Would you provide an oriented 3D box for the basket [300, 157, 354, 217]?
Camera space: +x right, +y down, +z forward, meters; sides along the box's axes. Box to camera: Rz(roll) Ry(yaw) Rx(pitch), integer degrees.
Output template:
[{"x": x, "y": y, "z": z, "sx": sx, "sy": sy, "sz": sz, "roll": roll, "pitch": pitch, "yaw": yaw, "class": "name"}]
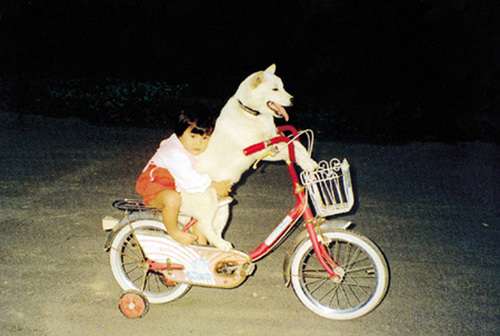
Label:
[{"x": 1.418, "y": 0.286, "z": 7.478, "sx": 0.682, "sy": 0.797, "sz": 0.731, "roll": 0, "pitch": -16, "yaw": 26, "class": "basket"}]
